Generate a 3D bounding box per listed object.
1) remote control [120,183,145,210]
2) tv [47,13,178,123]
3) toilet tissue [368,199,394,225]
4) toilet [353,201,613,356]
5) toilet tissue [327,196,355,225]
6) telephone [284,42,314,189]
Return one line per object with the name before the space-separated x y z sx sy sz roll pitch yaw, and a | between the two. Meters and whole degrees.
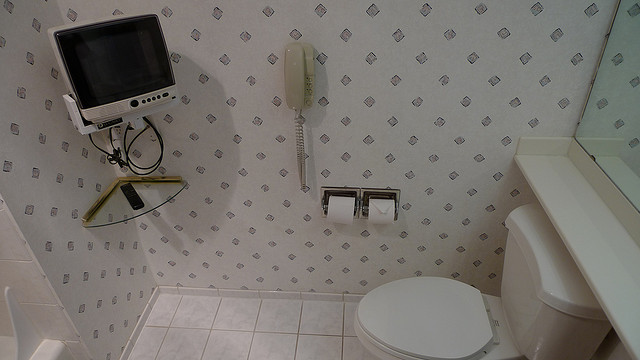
remote control | -1.187 0.103 2.731 0.115 0.157 0.094 -9 17 -27
tv | -1.106 -0.619 2.337 0.563 0.474 0.297 -27 38 -36
toilet tissue | 0.383 0.190 2.717 0.175 0.154 0.130 1 13 4
toilet | 0.814 0.547 2.701 1.325 1.054 0.740 0 47 11
toilet tissue | 0.138 0.193 2.733 0.189 0.166 0.142 4 51 5
telephone | -0.099 -0.337 2.505 0.153 0.865 0.190 4 16 18
